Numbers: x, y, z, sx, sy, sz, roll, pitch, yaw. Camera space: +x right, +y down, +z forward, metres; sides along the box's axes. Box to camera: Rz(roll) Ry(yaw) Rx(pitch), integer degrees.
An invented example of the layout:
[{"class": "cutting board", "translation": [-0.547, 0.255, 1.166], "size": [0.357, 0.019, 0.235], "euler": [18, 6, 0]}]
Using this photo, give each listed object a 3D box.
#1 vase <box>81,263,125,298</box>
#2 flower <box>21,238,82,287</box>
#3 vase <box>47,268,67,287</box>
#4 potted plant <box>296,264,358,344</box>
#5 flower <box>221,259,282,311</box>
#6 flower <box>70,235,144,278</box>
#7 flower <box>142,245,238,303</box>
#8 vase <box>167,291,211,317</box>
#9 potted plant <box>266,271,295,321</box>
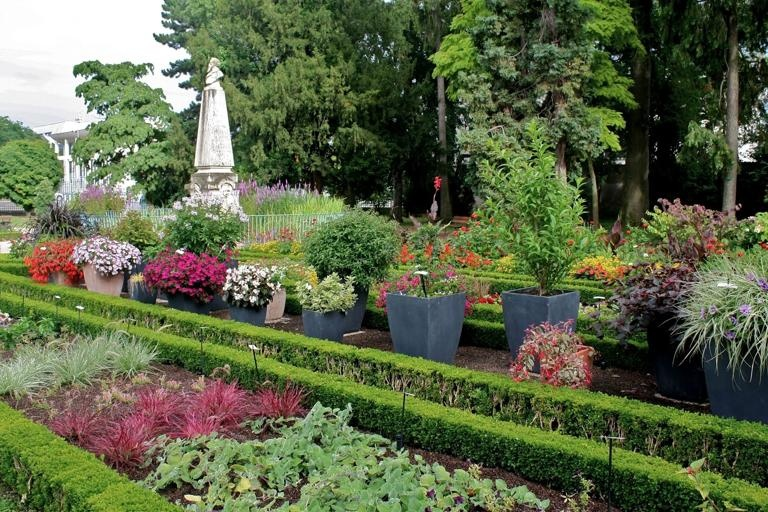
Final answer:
[{"class": "vase", "translation": [-5.380, 0.502, 13.017], "size": [0.603, 0.843, 0.676], "euler": [-1, 1, -1]}, {"class": "flower", "translation": [-6.428, 0.100, 13.298], "size": [0.967, 0.747, 0.964], "euler": [5, 1, -39]}, {"class": "vase", "translation": [-6.521, 0.425, 13.690], "size": [0.331, 0.269, 0.340], "euler": [0, -2, 45]}, {"class": "potted plant", "translation": [-0.921, 0.784, 10.703], "size": [0.876, 0.987, 0.830], "euler": [1, 0, 19]}, {"class": "flower", "translation": [-2.116, 0.514, 11.221], "size": [0.769, 0.612, 0.753], "euler": [7, 12, 22]}, {"class": "flower", "translation": [-5.543, 0.069, 13.034], "size": [0.627, 0.411, 0.632], "euler": [22, -9, -3]}, {"class": "flower", "translation": [-3.404, 0.367, 11.767], "size": [1.349, 0.894, 0.511], "euler": [3, 4, 4]}, {"class": "vase", "translation": [-3.392, 0.829, 11.911], "size": [0.401, 0.362, 0.526], "euler": [1, -3, 35]}, {"class": "potted plant", "translation": [-1.974, 0.837, 12.304], "size": [0.427, 0.504, 0.484], "euler": [13, 0, 30]}]
